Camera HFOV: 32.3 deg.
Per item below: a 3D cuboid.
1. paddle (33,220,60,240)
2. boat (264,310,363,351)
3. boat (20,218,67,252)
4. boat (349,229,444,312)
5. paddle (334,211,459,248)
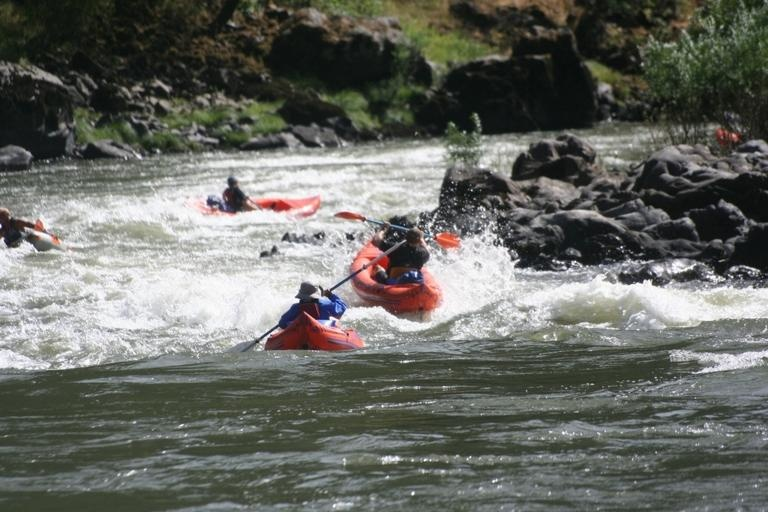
[{"bbox_3d":[-11.377,-0.791,44.291,0.182,0.914,0.511,-27,26,49],"label":"paddle"},{"bbox_3d":[-1.986,2.256,38.654,2.771,1.122,2.541,-1,-1,-10],"label":"boat"},{"bbox_3d":[-11.480,-0.614,44.045,0.606,1.436,0.738,-12,45,57],"label":"boat"},{"bbox_3d":[0.453,0.488,41.586,2.950,2.071,2.681,-2,11,-6],"label":"boat"},{"bbox_3d":[0.425,-0.882,42.572,3.868,0.494,0.592,13,-15,2],"label":"paddle"}]
